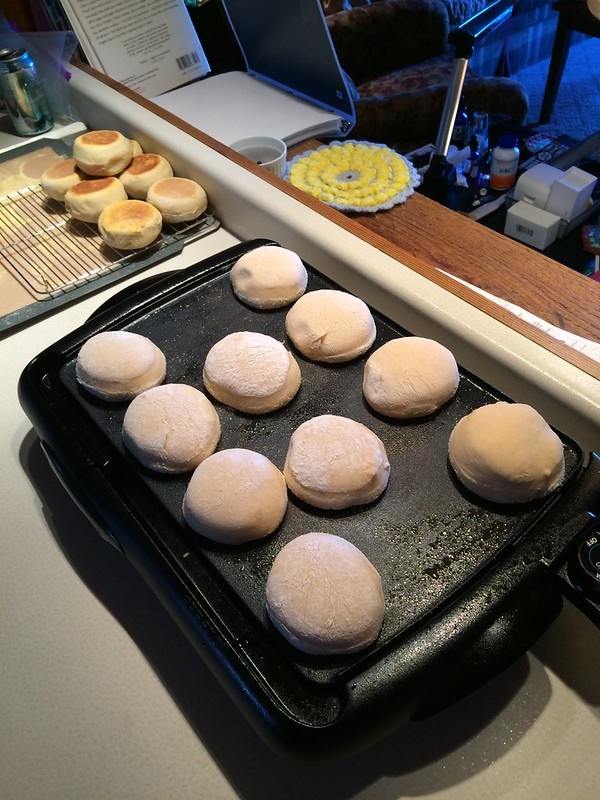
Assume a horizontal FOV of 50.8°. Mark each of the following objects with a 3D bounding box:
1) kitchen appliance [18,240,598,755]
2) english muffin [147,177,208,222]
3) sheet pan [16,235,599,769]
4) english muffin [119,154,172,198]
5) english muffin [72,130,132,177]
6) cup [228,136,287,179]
[{"bbox_3d":[-0.040,0.045,0.534,0.329,0.105,0.442,-31,56,-28],"label":"kitchen appliance"},{"bbox_3d":[-0.171,-0.276,0.886,0.071,0.051,0.072,25,55,32],"label":"english muffin"},{"bbox_3d":[-0.055,0.072,0.559,0.330,0.104,0.442,-30,55,-28],"label":"sheet pan"},{"bbox_3d":[-0.218,-0.321,0.908,0.067,0.030,0.065,21,60,16],"label":"english muffin"},{"bbox_3d":[-0.277,-0.349,0.894,0.073,0.037,0.069,-36,79,-25],"label":"english muffin"},{"bbox_3d":[-0.057,-0.389,1.030,0.075,0.059,0.096,-26,45,-14],"label":"cup"}]
